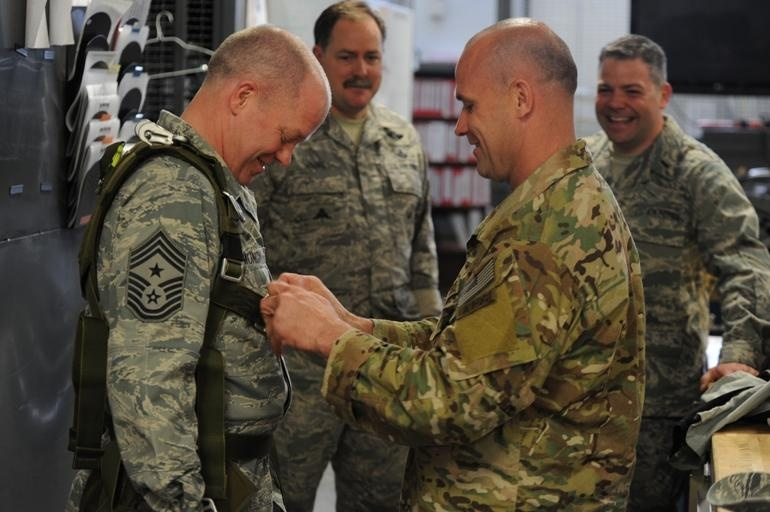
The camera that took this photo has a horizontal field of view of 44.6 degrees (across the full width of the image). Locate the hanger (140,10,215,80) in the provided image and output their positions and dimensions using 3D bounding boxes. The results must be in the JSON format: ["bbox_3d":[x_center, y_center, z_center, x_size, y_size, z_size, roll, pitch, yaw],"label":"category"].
[{"bbox_3d":[-0.852,-0.865,3.834,0.431,0.321,0.047,6,22,27],"label":"hanger"}]
